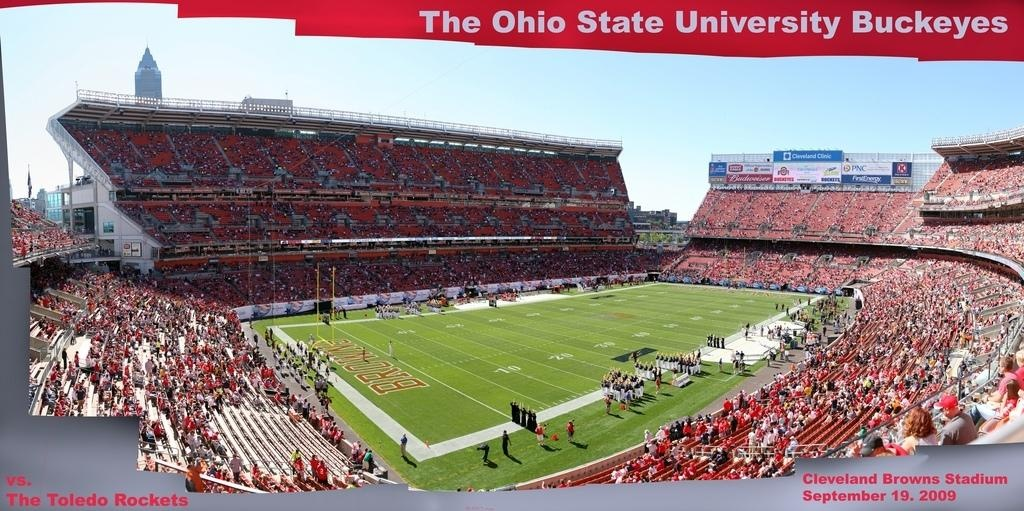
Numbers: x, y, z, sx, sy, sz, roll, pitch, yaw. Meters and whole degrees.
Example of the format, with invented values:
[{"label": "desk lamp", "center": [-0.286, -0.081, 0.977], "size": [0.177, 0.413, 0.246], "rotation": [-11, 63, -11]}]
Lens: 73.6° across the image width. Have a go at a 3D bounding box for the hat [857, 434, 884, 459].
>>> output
[{"label": "hat", "center": [13.552, 7.143, 25.762], "size": [1.111, 0.540, 0.674], "rotation": [-20, -2, 12]}]
